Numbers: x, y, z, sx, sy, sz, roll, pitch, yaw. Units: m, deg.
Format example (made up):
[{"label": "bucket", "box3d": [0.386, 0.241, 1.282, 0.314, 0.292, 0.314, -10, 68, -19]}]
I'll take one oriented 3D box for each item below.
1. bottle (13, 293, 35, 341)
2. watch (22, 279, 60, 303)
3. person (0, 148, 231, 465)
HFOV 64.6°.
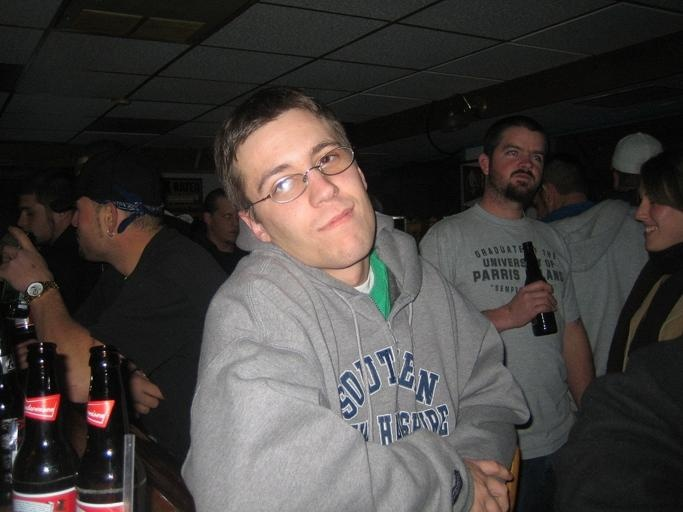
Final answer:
[{"label": "bottle", "box3d": [-1.025, 0.197, 1.752, 0.116, 0.139, 0.037, 10, 12, 34]}, {"label": "watch", "box3d": [-1.050, 0.136, 1.901, 0.104, 0.059, 0.091, -25, -8, -23]}, {"label": "person", "box3d": [-0.815, 0.287, 2.872, 1.293, 1.933, 0.883, -2, -12, -4]}]
